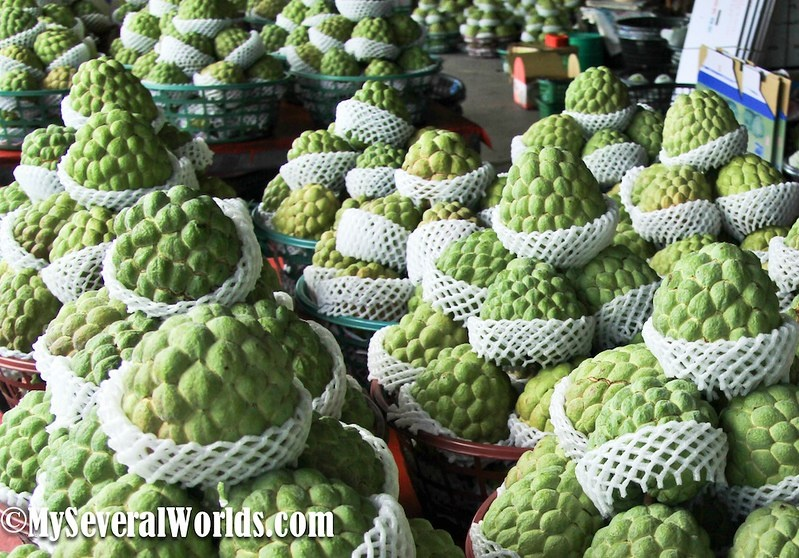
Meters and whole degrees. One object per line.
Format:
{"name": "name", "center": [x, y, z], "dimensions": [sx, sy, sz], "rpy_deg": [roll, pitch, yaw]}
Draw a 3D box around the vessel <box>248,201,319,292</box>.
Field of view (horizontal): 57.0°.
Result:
{"name": "vessel", "center": [-0.484, -0.146, 3.095], "dimensions": [0.327, 0.264, 0.339], "rpy_deg": [3, 10, -1]}
